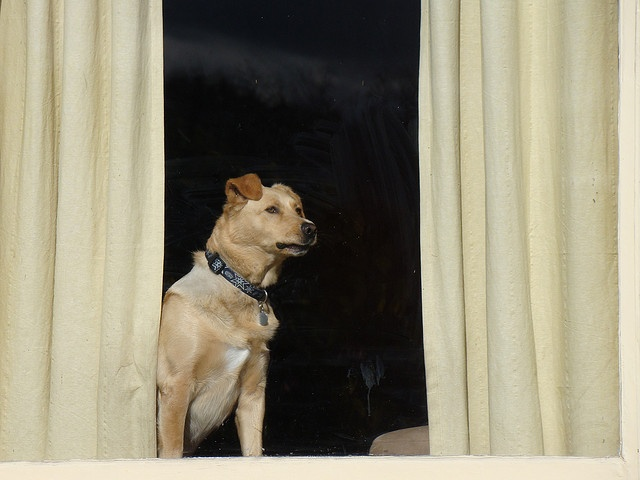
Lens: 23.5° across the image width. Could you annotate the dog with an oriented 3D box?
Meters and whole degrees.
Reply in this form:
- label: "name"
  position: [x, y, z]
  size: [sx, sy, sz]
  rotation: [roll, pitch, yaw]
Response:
- label: "dog"
  position: [-0.457, 0.449, 6.184]
  size: [0.462, 1.056, 1.567]
  rotation: [5, -17, -23]
